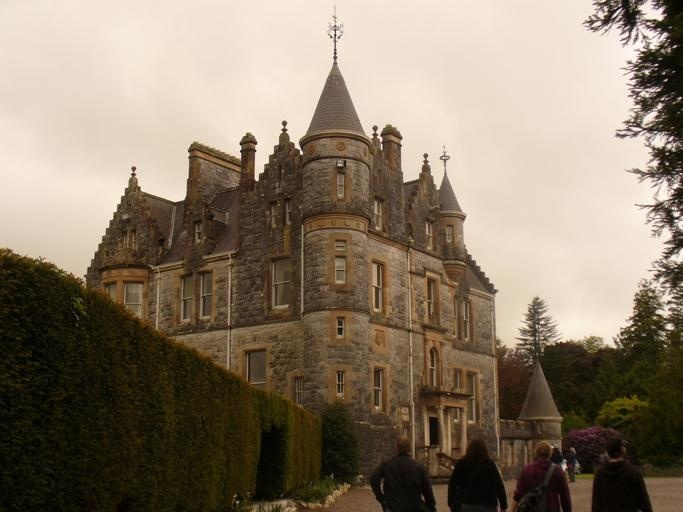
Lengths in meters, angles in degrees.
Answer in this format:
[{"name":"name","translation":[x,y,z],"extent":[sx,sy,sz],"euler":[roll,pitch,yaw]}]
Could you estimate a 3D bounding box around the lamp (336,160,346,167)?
[{"name":"lamp","translation":[-0.014,-3.863,32.837],"extent":[0.392,0.257,0.190],"euler":[1,-20,-4]}]
